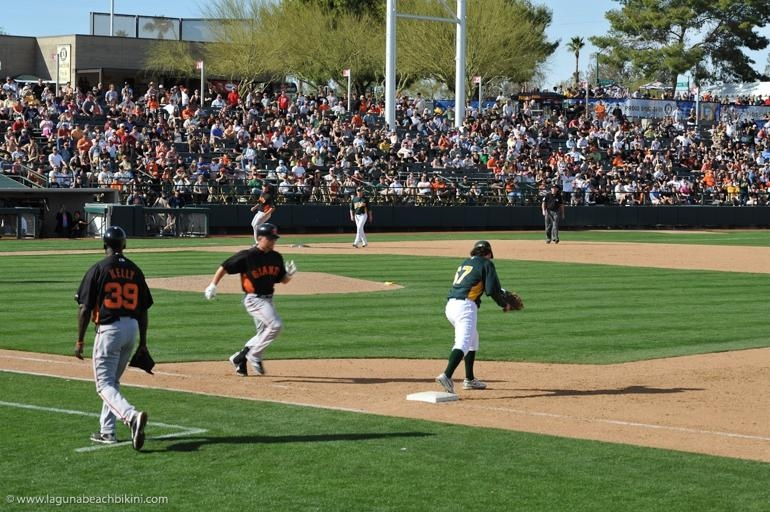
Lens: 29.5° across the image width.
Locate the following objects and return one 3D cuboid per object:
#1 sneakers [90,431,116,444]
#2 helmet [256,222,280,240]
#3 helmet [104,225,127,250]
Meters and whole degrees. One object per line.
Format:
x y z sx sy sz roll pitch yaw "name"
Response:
-6.077 3.933 31.756 0.574 0.255 0.224 9 4 9 "sneakers"
-2.737 -0.529 34.242 0.527 0.241 0.373 -6 20 -3 "helmet"
-5.810 -0.394 31.907 0.473 0.540 0.547 -2 25 -27 "helmet"
